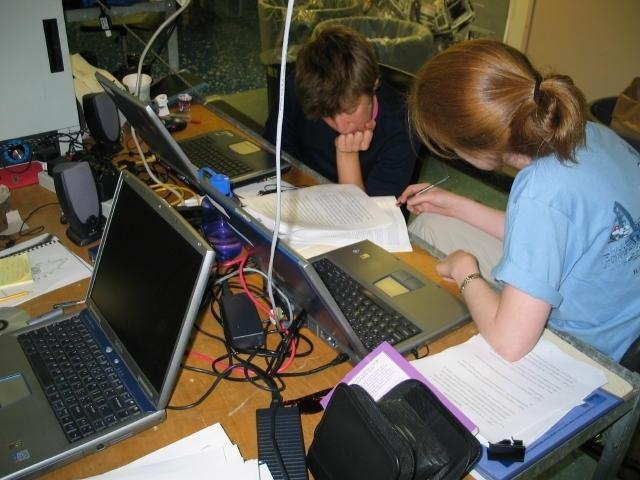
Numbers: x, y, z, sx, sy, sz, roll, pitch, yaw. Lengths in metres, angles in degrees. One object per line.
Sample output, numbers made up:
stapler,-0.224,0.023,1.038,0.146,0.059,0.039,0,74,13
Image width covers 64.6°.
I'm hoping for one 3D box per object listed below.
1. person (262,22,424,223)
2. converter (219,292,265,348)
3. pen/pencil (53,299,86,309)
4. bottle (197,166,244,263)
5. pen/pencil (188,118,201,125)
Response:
person,0.088,-0.393,2.119,0.462,0.903,0.463,21,32,36
converter,-0.201,0.226,1.407,0.167,0.109,0.167,0,42,-16
pen/pencil,-0.695,0.180,1.408,0.060,0.016,0.013,-6,36,-33
bottle,-0.291,-0.064,1.478,0.116,0.322,0.125,1,41,-1
pen/pencil,-0.559,-0.530,2.285,0.081,0.025,0.023,15,6,23
